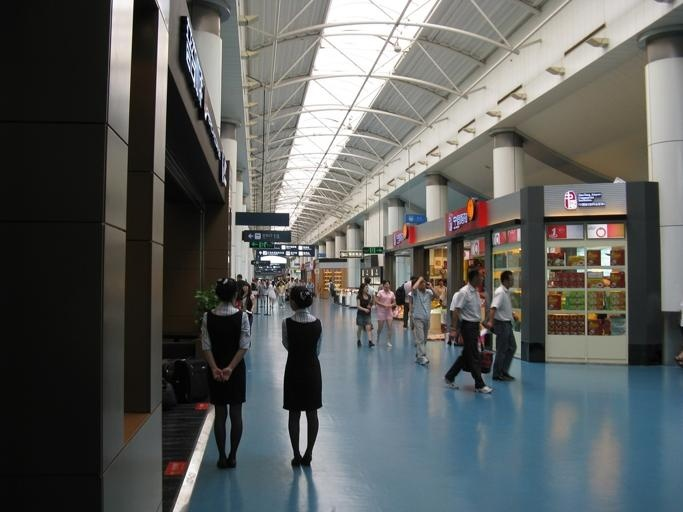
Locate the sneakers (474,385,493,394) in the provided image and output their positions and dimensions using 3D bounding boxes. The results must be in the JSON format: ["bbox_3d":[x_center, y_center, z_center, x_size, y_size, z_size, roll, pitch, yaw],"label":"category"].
[{"bbox_3d":[2.254,2.100,7.840,0.259,0.150,0.122,-3,-1,18],"label":"sneakers"}]

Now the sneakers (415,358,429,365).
[{"bbox_3d":[1.676,2.202,10.328,0.269,0.125,0.415,-1,-2,12],"label":"sneakers"}]

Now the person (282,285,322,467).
[{"bbox_3d":[-0.403,1.209,4.986,0.374,1.802,0.486,0,-2,-7],"label":"person"}]

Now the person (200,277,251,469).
[{"bbox_3d":[-1.153,1.170,4.914,0.445,1.871,0.435,0,-2,-15],"label":"person"}]

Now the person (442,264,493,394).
[{"bbox_3d":[2.028,1.185,8.005,0.699,1.970,0.734,0,-2,12],"label":"person"}]

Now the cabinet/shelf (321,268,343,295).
[{"bbox_3d":[-1.105,2.642,48.486,3.104,2.752,1.184,-1,-2,35],"label":"cabinet/shelf"}]

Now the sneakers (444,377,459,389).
[{"bbox_3d":[1.811,2.125,8.250,0.102,0.153,0.331,1,-10,-7],"label":"sneakers"}]

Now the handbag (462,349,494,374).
[{"bbox_3d":[2.224,1.724,8.093,0.325,0.521,0.506,0,-15,4],"label":"handbag"}]
